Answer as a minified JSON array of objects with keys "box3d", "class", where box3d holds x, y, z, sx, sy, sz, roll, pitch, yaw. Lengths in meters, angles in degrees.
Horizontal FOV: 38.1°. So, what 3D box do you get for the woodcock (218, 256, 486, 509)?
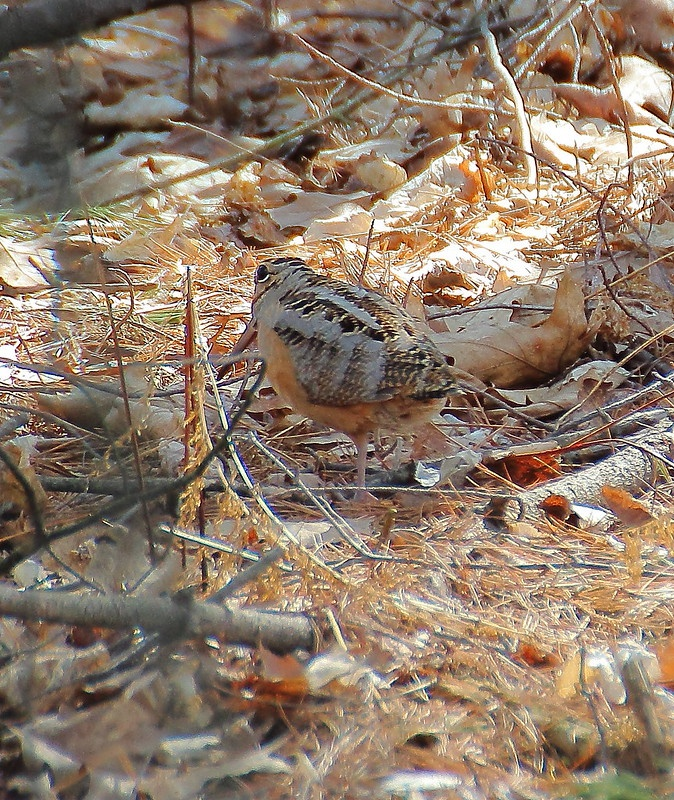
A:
[{"box3d":[0.106,-0.087,3.370,0.547,1.136,0.724,-12,108,-45],"class":"woodcock"}]
